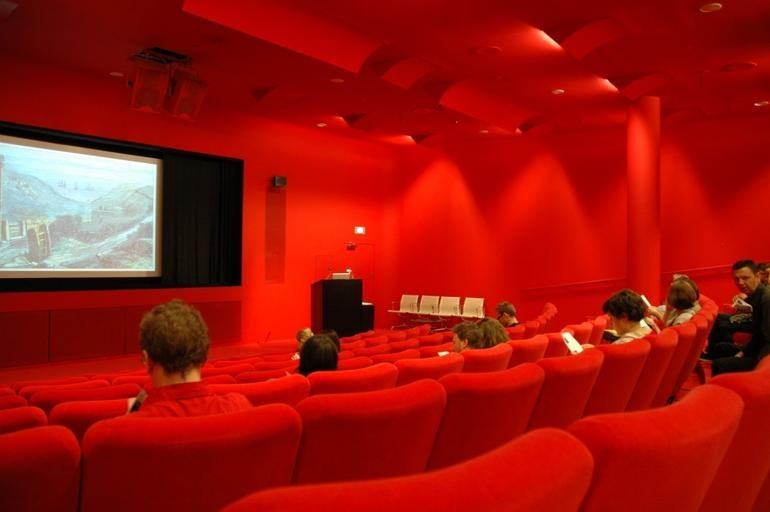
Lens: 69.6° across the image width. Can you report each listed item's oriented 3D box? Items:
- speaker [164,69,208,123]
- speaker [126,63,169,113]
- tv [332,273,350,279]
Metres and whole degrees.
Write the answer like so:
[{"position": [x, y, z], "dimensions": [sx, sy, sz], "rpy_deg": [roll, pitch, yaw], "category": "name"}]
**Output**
[{"position": [-3.271, -2.652, 9.125], "dimensions": [0.579, 0.714, 0.653], "rpy_deg": [3, 3, -24], "category": "speaker"}, {"position": [-3.750, -2.666, 8.843], "dimensions": [0.517, 0.702, 0.716], "rpy_deg": [3, 3, -29], "category": "speaker"}, {"position": [-0.942, 0.392, 11.729], "dimensions": [0.397, 0.110, 1.092], "rpy_deg": [4, 2, -5], "category": "tv"}]
